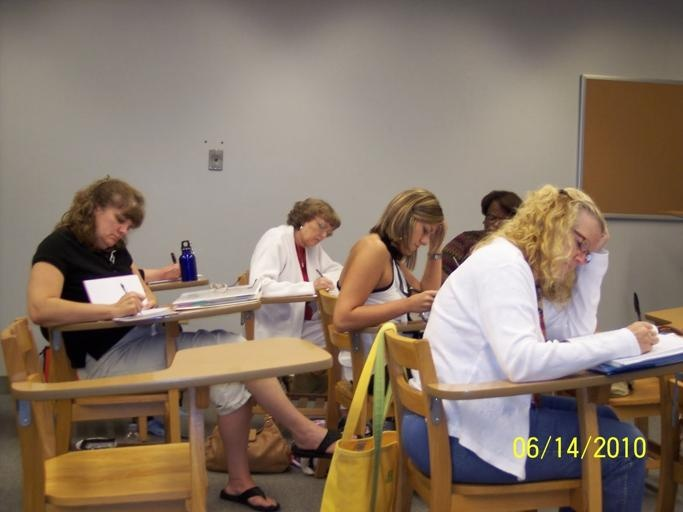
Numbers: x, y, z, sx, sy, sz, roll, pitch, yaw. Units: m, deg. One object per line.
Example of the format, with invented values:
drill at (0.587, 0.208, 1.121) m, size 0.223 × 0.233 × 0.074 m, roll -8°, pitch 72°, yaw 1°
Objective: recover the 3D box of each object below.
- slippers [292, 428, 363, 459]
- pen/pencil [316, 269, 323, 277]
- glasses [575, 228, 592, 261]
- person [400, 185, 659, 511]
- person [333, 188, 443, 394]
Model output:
slippers at (-0.068, 0.810, 2.478) m, size 0.275 × 0.106 × 0.112 m, roll -3°, pitch -7°, yaw 3°
pen/pencil at (-0.153, 0.118, 3.975) m, size 0.020 × 0.022 × 0.093 m, roll 13°, pitch -36°, yaw 24°
glasses at (0.811, -0.044, 1.906) m, size 0.026 × 0.091 × 0.086 m, roll -9°, pitch -20°, yaw 15°
person at (0.609, 0.288, 1.954) m, size 0.833 × 1.051 × 0.489 m, roll -2°, pitch 0°, yaw -2°
person at (0.273, 0.279, 2.819) m, size 0.555 × 1.186 × 0.464 m, roll 0°, pitch 10°, yaw -2°
